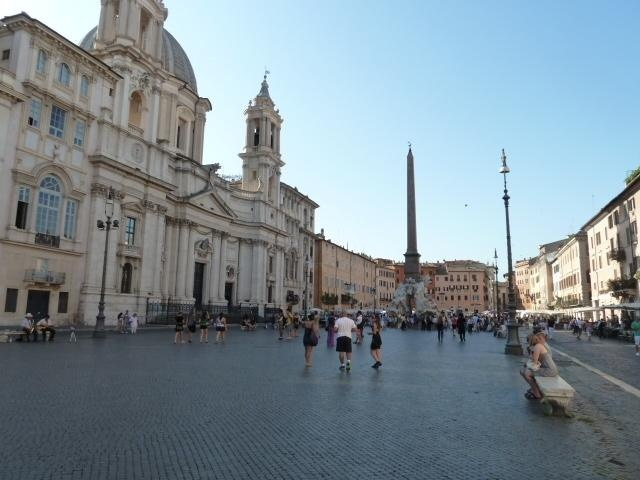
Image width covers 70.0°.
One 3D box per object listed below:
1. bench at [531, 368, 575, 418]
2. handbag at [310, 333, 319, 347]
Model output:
[{"bbox_3d":[4.829,3.199,9.473,0.707,0.689,1.281,-4,-12,26],"label":"bench"},{"bbox_3d":[-0.202,3.239,14.910,0.210,0.427,0.542,0,-11,7],"label":"handbag"}]
